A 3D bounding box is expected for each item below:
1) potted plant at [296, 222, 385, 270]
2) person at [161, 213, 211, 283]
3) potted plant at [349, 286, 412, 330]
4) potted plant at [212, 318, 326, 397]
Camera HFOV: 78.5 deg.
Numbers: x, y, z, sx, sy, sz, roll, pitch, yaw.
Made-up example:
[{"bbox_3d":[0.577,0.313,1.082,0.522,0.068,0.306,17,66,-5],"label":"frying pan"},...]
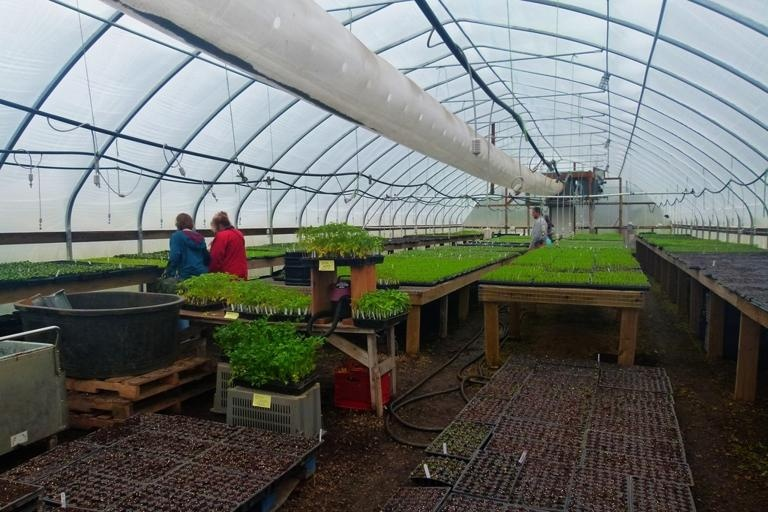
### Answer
[{"bbox_3d":[-0.650,-0.173,6.700,1.238,0.574,0.731,0,9,2],"label":"potted plant"},{"bbox_3d":[-3.500,-0.168,8.225,0.740,1.145,0.542,-3,10,-19],"label":"person"},{"bbox_3d":[-0.036,0.755,6.583,0.639,0.306,0.767,5,3,19],"label":"potted plant"},{"bbox_3d":[-1.293,1.213,5.839,1.228,0.562,0.881,2,2,34],"label":"potted plant"}]
